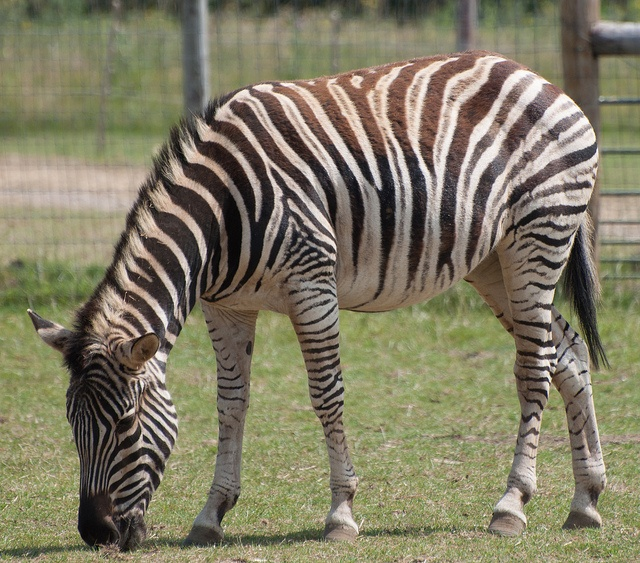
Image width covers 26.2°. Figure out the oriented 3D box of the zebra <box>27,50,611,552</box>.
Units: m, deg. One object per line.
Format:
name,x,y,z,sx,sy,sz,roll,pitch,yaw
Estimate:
zebra,0.206,0.131,8.468,3.746,3.066,1.140,-7,8,-23
